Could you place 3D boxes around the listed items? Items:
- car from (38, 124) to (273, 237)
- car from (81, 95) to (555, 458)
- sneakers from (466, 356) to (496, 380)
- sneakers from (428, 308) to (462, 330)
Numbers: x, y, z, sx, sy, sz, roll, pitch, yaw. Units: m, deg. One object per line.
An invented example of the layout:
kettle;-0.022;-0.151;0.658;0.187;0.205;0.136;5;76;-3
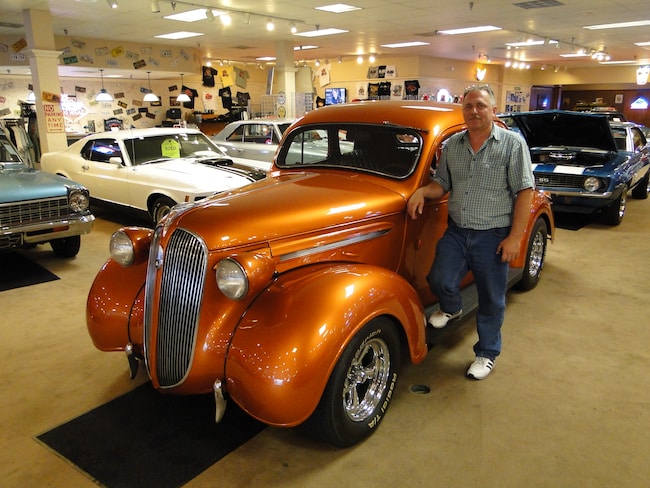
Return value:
car;-3.079;-1.251;7.357;3.997;1.174;1.768;10;19;32
car;0.307;-0.222;4.038;2.519;1.800;4.502;10;22;37
sneakers;1.216;0.968;3.257;0.115;0.105;0.276;1;1;39
sneakers;0.948;0.579;3.243;0.303;0.105;0.106;-13;22;-27
